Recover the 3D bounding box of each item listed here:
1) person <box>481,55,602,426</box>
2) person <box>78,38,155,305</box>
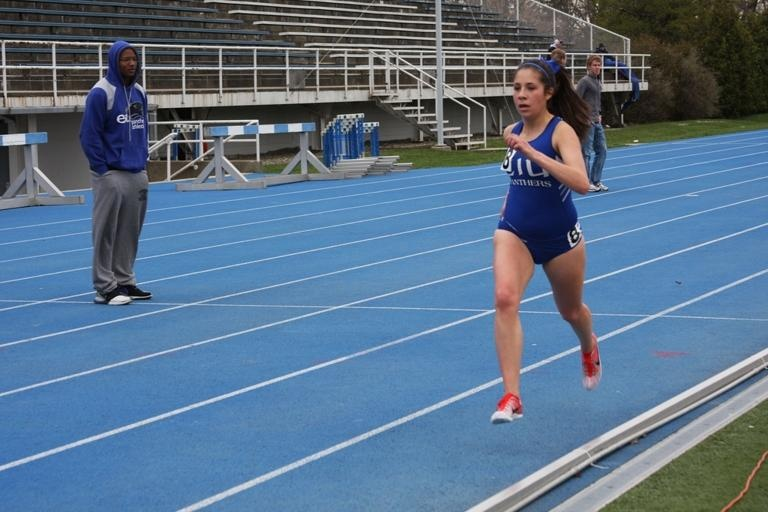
[{"bbox_3d":[0.891,-0.139,3.841,1.055,1.809,0.768,-2,4,-28],"label":"person"},{"bbox_3d":[-2.529,-0.774,6.520,0.813,2.448,0.851,3,-4,-9],"label":"person"}]
